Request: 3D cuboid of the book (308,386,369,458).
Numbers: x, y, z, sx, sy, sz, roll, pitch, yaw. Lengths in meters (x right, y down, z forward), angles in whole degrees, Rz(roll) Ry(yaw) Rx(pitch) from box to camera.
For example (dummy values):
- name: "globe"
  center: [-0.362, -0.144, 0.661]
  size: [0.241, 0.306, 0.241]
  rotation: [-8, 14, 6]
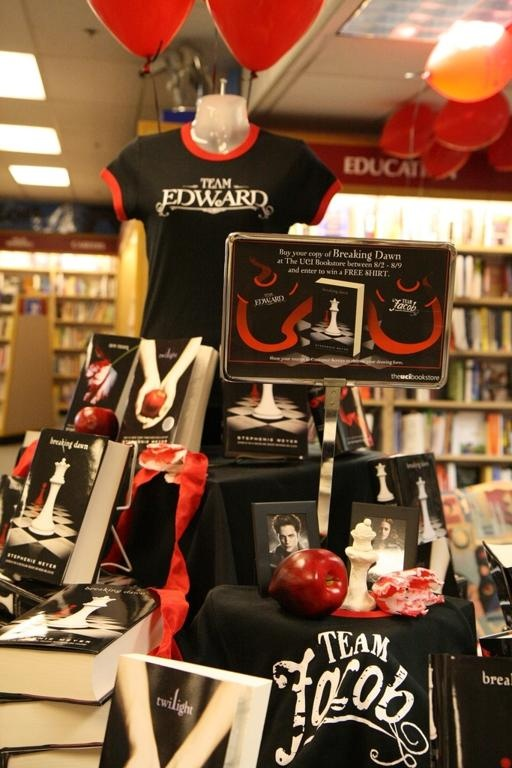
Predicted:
- name: "book"
  center: [0.212, 0.085, 1.469]
  size: [0.062, 0.184, 0.192]
  rotation: [-9, -1, 34]

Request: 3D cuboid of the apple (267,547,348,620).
- name: "apple"
  center: [0.075, 0.274, 0.815]
  size: [0.088, 0.078, 0.090]
  rotation: [2, 2, -29]

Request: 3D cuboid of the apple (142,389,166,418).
- name: "apple"
  center: [-0.221, 0.043, 1.294]
  size: [0.037, 0.049, 0.038]
  rotation: [23, 13, -21]

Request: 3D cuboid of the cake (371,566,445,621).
- name: "cake"
  center: [0.209, 0.291, 0.831]
  size: [0.084, 0.052, 0.105]
  rotation: [-17, -6, -17]
